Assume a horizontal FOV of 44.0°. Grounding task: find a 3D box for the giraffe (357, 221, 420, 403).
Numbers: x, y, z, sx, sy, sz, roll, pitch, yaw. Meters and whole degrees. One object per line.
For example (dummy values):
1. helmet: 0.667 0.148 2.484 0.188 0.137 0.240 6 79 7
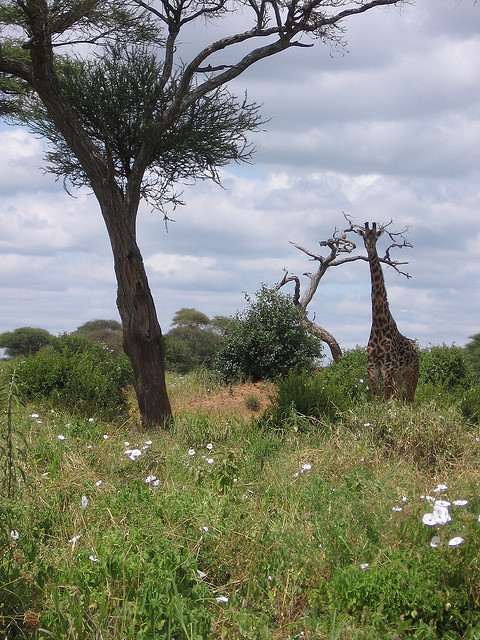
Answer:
1. giraffe: 2.321 0.144 9.273 0.631 2.450 1.925 -1 3 24
